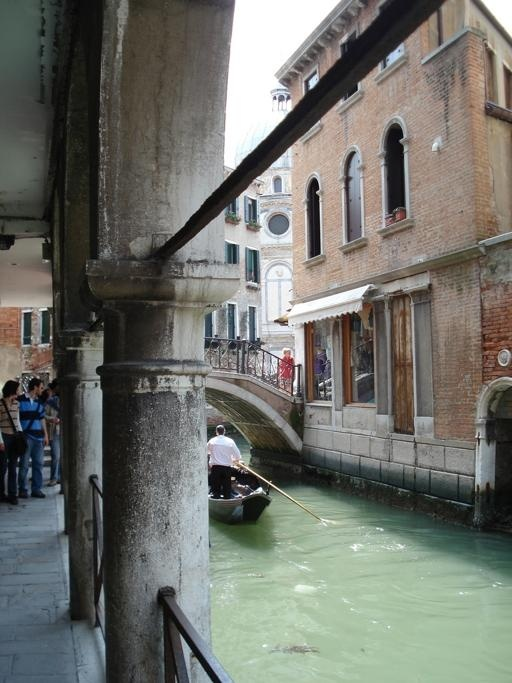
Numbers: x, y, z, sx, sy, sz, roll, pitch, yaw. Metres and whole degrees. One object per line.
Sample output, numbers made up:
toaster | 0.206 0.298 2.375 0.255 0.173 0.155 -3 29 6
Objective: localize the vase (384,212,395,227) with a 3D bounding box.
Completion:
vase | 2.225 -2.044 13.094 0.092 0.203 0.347 -3 -1 -10

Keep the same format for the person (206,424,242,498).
person | -0.505 1.910 12.444 0.473 0.970 0.602 -3 -1 -4

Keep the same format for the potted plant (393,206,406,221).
potted plant | 2.343 -2.072 12.869 0.100 0.210 0.291 -2 -1 -36

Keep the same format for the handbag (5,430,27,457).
handbag | -2.500 1.067 8.197 0.154 0.301 0.244 -7 -1 23
